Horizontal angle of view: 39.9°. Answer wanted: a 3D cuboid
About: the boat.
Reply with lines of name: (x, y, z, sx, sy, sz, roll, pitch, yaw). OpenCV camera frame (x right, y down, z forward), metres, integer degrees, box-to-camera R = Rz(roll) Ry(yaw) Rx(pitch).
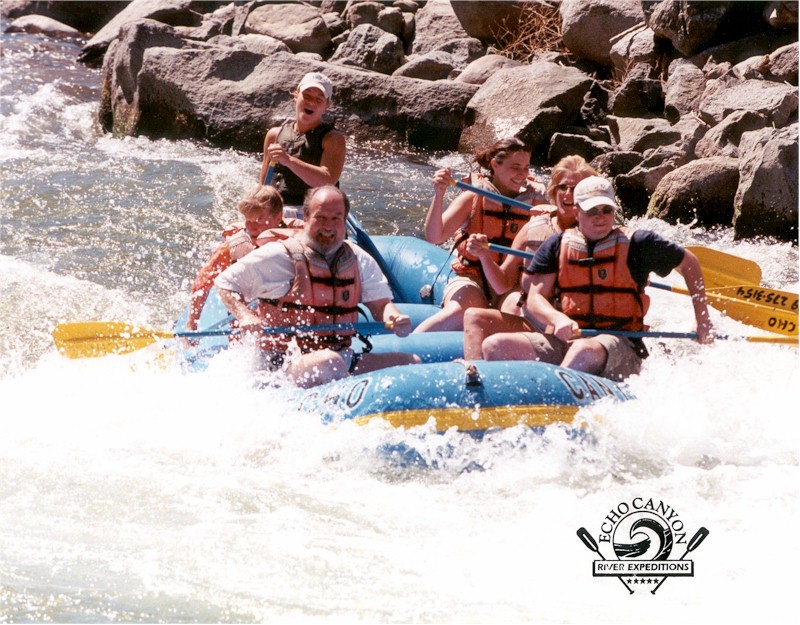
boat: (-0.207, 0.109, 7.399, 2.384, 0.934, 2.998, 0, 10, -22)

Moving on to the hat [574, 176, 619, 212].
hat: (1.155, -0.704, 6.562, 0.178, 0.140, 0.243, 0, -3, -1)
